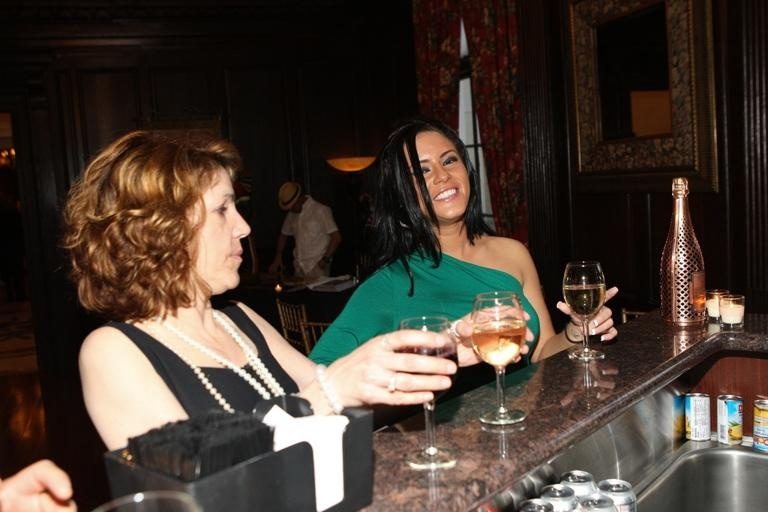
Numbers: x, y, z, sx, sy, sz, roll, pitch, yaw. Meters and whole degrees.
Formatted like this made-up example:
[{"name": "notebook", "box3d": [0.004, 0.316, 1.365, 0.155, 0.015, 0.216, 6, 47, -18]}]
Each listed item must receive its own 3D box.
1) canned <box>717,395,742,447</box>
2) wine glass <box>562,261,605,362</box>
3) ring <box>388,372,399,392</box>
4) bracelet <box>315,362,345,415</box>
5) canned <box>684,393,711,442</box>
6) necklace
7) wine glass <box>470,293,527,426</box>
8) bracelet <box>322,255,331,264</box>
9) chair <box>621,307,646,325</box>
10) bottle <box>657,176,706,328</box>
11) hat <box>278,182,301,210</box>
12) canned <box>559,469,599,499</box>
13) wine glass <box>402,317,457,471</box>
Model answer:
[{"name": "canned", "box3d": [1.325, 0.610, 2.234, 0.083, 0.171, 0.159, -2, 7, 33]}, {"name": "wine glass", "box3d": [0.764, 0.201, 2.230, 0.141, 0.372, 0.232, -4, 6, 14]}, {"name": "ring", "box3d": [0.026, 0.363, 1.681, 0.026, 0.051, 0.021, 5, -5, 7]}, {"name": "bracelet", "box3d": [-0.156, 0.401, 1.777, 0.051, 0.110, 0.143, -28, 22, -5]}, {"name": "canned", "box3d": [1.213, 0.609, 2.252, 0.080, 0.176, 0.142, -2, 7, 35]}, {"name": "necklace", "box3d": [-0.593, 0.276, 2.099, 0.336, 0.100, 0.465, -4, 35, -39]}, {"name": "wine glass", "box3d": [0.378, 0.308, 1.867, 0.169, 0.399, 0.235, -4, 6, 13]}, {"name": "bracelet", "box3d": [-0.696, 0.033, 7.240, 0.108, 0.071, 0.099, -28, 9, -31]}, {"name": "chair", "box3d": [1.768, 0.415, 4.143, 0.156, 0.140, 0.413, -4, 5, 22]}, {"name": "bottle", "box3d": [1.276, -0.022, 2.508, 0.172, 0.625, 0.166, -6, 6, 1]}, {"name": "hat", "box3d": [-1.219, -0.827, 7.471, 0.304, 0.137, 0.354, -39, 38, 18]}, {"name": "canned", "box3d": [0.548, 0.631, 1.651, 0.069, 0.066, 0.067, -5, 7, -43]}, {"name": "wine glass", "box3d": [0.143, 0.376, 1.718, 0.161, 0.411, 0.259, -5, 6, 10]}]
